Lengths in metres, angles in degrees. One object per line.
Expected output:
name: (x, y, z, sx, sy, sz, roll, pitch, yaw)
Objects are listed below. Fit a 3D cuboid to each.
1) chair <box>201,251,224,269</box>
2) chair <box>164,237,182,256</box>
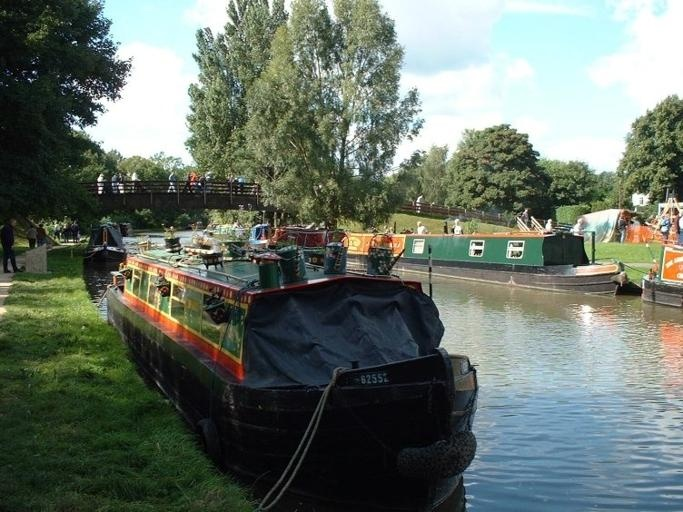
chair: (-2.537, 0.060, 11.450, 0.318, 0.339, 0.437, -2, -1, 32)
chair: (-4.407, -0.266, 15.334, 0.476, 0.372, 0.457, 1, 3, 35)
